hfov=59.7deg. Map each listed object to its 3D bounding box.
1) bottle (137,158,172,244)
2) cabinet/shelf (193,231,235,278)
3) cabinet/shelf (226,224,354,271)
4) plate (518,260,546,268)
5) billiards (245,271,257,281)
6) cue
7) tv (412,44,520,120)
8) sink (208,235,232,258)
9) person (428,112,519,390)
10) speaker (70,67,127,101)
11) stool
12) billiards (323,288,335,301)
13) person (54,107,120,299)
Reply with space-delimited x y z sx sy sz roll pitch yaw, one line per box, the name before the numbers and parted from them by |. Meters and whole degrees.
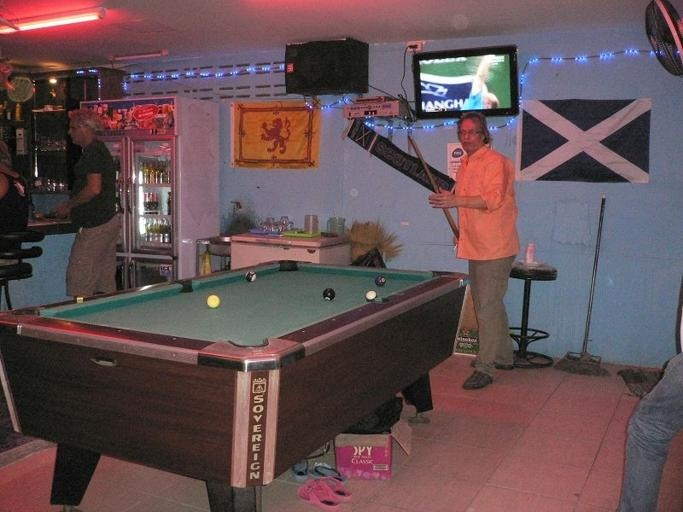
bottle | -2.134 -0.532 6.919 0.370 1.179 0.362 4 14 -1
cabinet/shelf | -1.349 -0.051 6.646 0.462 0.645 0.404 10 13 30
cabinet/shelf | -0.555 -0.070 5.876 0.906 0.408 0.641 8 12 23
plate | 1.701 0.075 5.327 0.268 0.037 0.293 4 11 16
billiards | -0.601 0.132 3.931 0.055 0.049 0.067 0 4 6
cue | 0.909 -0.721 5.855 0.063 1.330 0.134 -42 16 -27
tv | 1.211 -1.658 5.626 1.125 0.663 0.114 -1 12 16
sink | -1.298 -0.108 6.360 0.243 0.214 0.146 3 2 22
person | 1.189 -0.138 4.893 0.770 2.320 0.892 2 3 24
speaker | -3.016 -2.126 7.335 0.626 0.390 0.246 3 12 9
stool | 1.691 0.517 5.472 0.558 0.858 0.542 4 0 -9
billiards | -0.068 0.222 3.468 0.066 0.065 0.069 -11 -31 13
person | -2.321 -0.314 5.392 0.639 1.986 0.648 4 8 5
